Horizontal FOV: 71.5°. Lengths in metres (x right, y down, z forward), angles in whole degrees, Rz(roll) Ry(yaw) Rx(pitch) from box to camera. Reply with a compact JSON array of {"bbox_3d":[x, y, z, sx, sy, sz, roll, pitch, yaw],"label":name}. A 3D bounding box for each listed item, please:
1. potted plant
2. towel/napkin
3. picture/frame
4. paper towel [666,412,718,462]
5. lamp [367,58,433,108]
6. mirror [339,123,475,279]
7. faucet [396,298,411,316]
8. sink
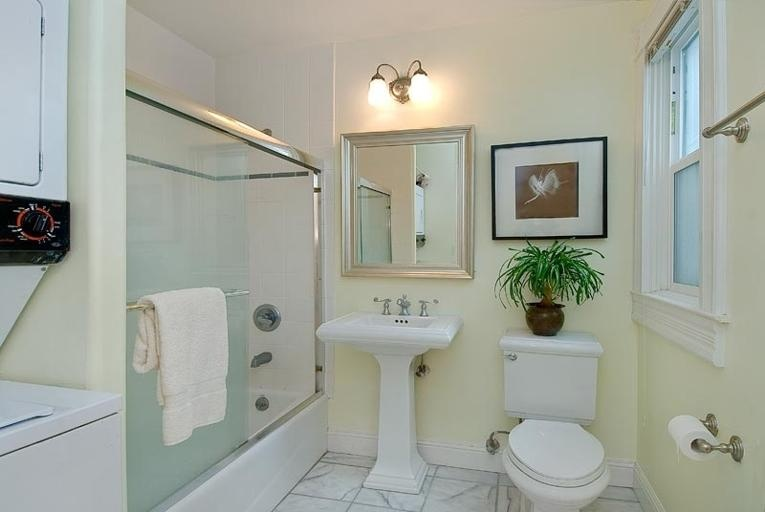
[{"bbox_3d":[0.990,0.173,3.249,0.553,0.471,0.559,1,-2,-22],"label":"potted plant"},{"bbox_3d":[-0.913,0.496,2.442,0.094,0.671,0.452,0,2,38],"label":"towel/napkin"},{"bbox_3d":[1.044,-0.417,3.243,0.609,0.549,0.029,-1,1,17],"label":"picture/frame"},{"bbox_3d":[1.276,0.732,2.167,0.199,0.148,0.180,-1,1,18],"label":"paper towel"},{"bbox_3d":[0.111,-1.121,3.431,0.388,0.277,0.152,-2,4,15],"label":"lamp"},{"bbox_3d":[0.191,-0.378,3.469,0.967,1.113,0.053,-1,-1,15],"label":"mirror"},{"bbox_3d":[0.132,0.329,3.438,0.129,0.165,0.095,-1,-5,5],"label":"faucet"},{"bbox_3d":[0.045,0.484,3.247,0.803,0.208,0.464,-1,1,15],"label":"sink"}]
